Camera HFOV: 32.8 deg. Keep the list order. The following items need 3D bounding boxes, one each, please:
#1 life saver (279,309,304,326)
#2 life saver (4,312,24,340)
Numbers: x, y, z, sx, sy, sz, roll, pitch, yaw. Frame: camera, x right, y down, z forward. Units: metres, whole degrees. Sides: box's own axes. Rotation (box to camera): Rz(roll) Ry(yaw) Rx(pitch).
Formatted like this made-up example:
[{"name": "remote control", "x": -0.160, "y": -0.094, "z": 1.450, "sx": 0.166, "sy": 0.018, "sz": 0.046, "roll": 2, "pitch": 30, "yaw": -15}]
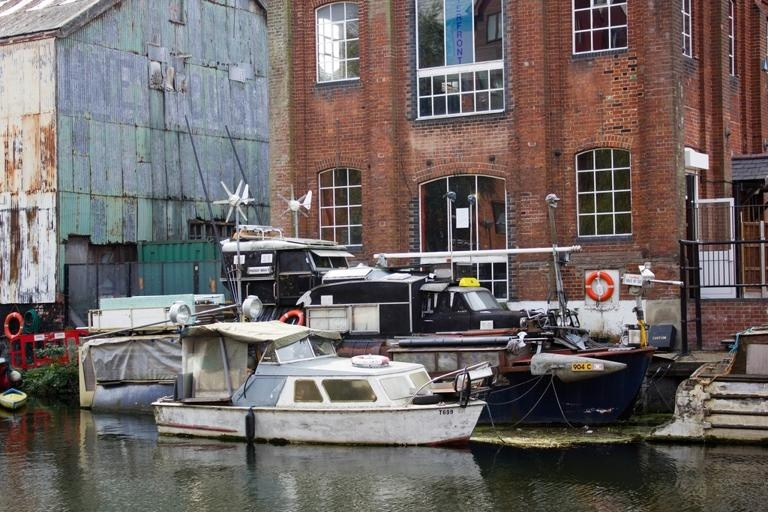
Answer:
[{"name": "life saver", "x": -2.637, "y": 1.820, "z": 38.636, "sx": 0.532, "sy": 0.540, "sz": 0.128, "roll": -11, "pitch": -35, "yaw": 36}, {"name": "life saver", "x": -13.018, "y": 2.468, "z": 45.890, "sx": 0.890, "sy": 1.009, "sz": 0.265, "roll": -9, "pitch": -14, "yaw": 36}]
